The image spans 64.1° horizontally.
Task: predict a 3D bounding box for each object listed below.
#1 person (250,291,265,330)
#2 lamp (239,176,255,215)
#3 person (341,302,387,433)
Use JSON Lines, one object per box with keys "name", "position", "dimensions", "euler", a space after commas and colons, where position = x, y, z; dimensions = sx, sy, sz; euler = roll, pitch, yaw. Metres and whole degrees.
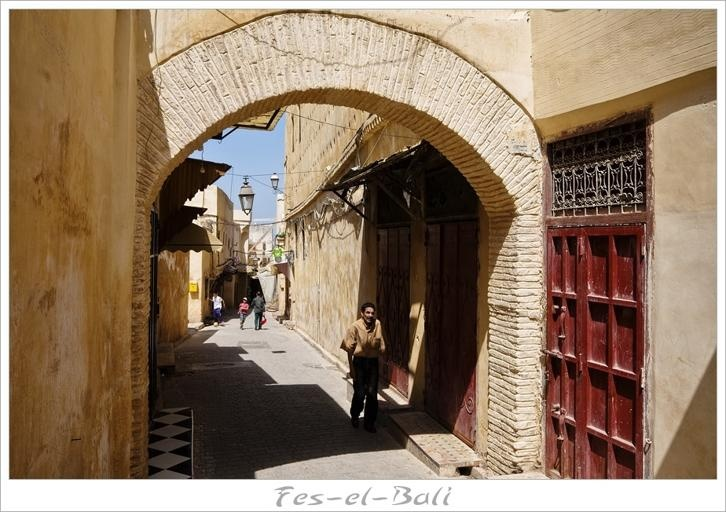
{"name": "person", "position": [-3.815, 2.024, 21.164], "dimensions": [0.319, 1.405, 1.516], "euler": [3, -9, -12]}
{"name": "lamp", "position": [-2.878, -1.472, 14.330], "dimensions": [0.415, 0.995, 0.448], "euler": [-13, -14, 36]}
{"name": "person", "position": [0.001, 1.520, 7.843], "dimensions": [0.550, 1.683, 0.800], "euler": [1, -8, 3]}
